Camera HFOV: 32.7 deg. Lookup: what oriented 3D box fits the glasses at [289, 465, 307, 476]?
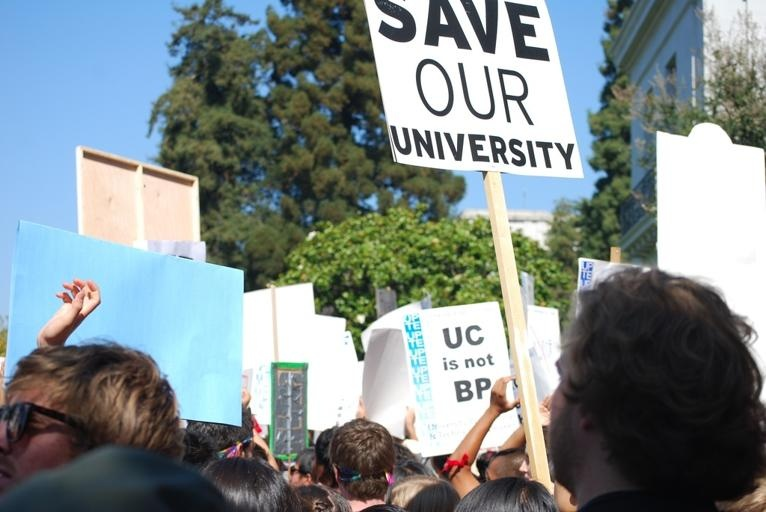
[{"bbox_3d":[-0.822,2.051,12.639,0.163,0.061,0.182,18,-10,3],"label":"glasses"}]
